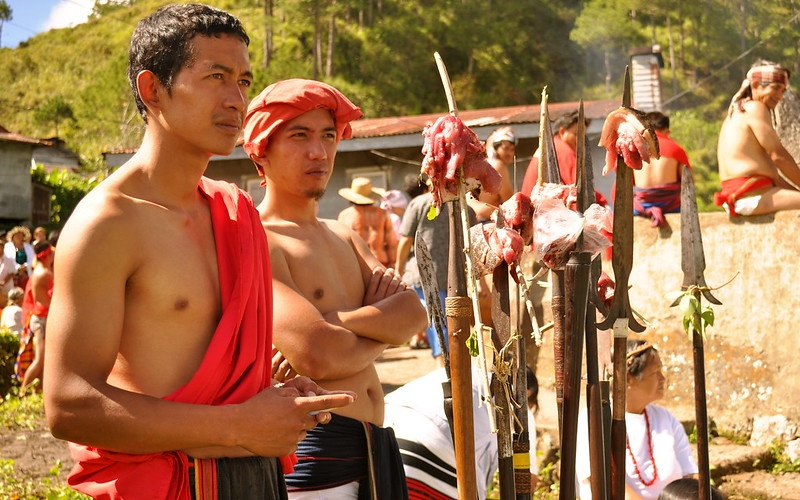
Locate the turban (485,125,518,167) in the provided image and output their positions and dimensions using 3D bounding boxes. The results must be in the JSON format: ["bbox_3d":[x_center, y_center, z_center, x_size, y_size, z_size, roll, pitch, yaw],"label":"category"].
[{"bbox_3d":[1.484,-1.546,19.601,0.369,0.583,0.550,-1,-7,0],"label":"turban"}]

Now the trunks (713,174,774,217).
[{"bbox_3d":[4.644,-0.823,18.137,0.647,0.355,0.516,-17,10,-9],"label":"trunks"}]

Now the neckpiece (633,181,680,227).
[{"bbox_3d":[3.537,-0.665,18.387,0.510,0.666,0.347,1,1,8],"label":"neckpiece"}]
